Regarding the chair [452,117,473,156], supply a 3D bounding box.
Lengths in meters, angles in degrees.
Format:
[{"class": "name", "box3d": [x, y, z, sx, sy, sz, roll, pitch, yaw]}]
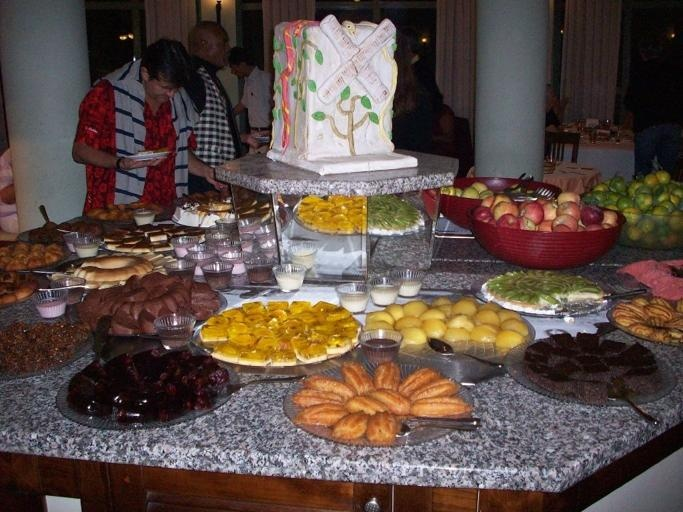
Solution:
[{"class": "chair", "box3d": [1.879, -1.833, 8.039, 0.305, 0.546, 1.183, 3, 19, 11]}]

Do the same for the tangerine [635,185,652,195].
[{"class": "tangerine", "box3d": [1.492, -0.331, 2.576, 0.059, 0.050, 0.072, -10, 11, -18]}]

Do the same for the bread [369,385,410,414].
[{"class": "bread", "box3d": [0.116, 0.346, 1.274, 0.085, 0.028, 0.046, 19, 19, 31]}]

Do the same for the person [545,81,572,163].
[{"class": "person", "box3d": [2.979, -1.691, 7.111, 0.287, 0.958, 0.265, -23, 18, -21]}]

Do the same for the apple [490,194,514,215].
[{"class": "apple", "box3d": [0.750, -0.234, 2.465, 0.130, 0.107, 0.116, -4, 5, -1]}]

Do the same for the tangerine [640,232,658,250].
[{"class": "tangerine", "box3d": [1.443, -0.069, 2.448, 0.086, 0.085, 0.078, -4, 14, 7]}]

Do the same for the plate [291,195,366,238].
[{"class": "plate", "box3d": [-0.031, -0.153, 2.015, 0.200, 0.041, 0.194, 18, 30, 28]}]

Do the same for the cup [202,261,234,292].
[{"class": "cup", "box3d": [-0.486, 0.077, 2.050, 0.126, 0.077, 0.111, 0, 31, -5]}]

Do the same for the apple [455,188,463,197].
[{"class": "apple", "box3d": [0.634, -0.345, 2.823, 0.055, 0.026, 0.056, 19, 30, 40]}]

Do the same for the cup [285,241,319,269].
[{"class": "cup", "box3d": [-0.155, -0.014, 2.115, 0.137, 0.079, 0.124, 3, 14, 11]}]

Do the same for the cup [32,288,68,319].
[{"class": "cup", "box3d": [-1.011, 0.169, 1.826, 0.114, 0.080, 0.106, 3, 23, -1]}]

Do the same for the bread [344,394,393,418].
[{"class": "bread", "box3d": [0.059, 0.361, 1.252, 0.072, 0.020, 0.045, 8, 23, 16]}]

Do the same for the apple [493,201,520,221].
[{"class": "apple", "box3d": [0.749, -0.206, 2.363, 0.119, 0.099, 0.107, -8, -12, 6]}]

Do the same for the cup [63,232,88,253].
[{"class": "cup", "box3d": [-1.284, -0.071, 2.511, 0.121, 0.069, 0.109, 1, 12, -3]}]

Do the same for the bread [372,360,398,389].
[{"class": "bread", "box3d": [0.122, 0.305, 1.348, 0.050, 0.028, 0.058, 0, 30, 3]}]

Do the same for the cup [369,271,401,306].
[{"class": "cup", "box3d": [0.162, 0.116, 1.892, 0.124, 0.074, 0.109, -3, 32, -1]}]

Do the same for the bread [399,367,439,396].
[{"class": "bread", "box3d": [0.201, 0.330, 1.358, 0.102, 0.033, 0.050, -19, 30, -26]}]

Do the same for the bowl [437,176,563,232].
[{"class": "bowl", "box3d": [0.814, -0.340, 2.834, 0.488, 0.131, 0.439, 0, 15, 3]}]

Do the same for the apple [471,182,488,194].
[{"class": "apple", "box3d": [0.767, -0.380, 2.887, 0.084, 0.067, 0.092, 3, -1, -5]}]

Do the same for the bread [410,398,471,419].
[{"class": "bread", "box3d": [0.240, 0.370, 1.260, 0.129, 0.035, 0.055, 0, 16, -3]}]

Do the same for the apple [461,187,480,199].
[{"class": "apple", "box3d": [0.684, -0.325, 2.763, 0.077, 0.061, 0.083, -2, 0, 24]}]

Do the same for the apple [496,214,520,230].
[{"class": "apple", "box3d": [0.728, -0.150, 2.266, 0.079, 0.066, 0.068, 6, -24, 15]}]

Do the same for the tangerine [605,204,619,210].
[{"class": "tangerine", "box3d": [1.302, -0.232, 2.513, 0.058, 0.031, 0.062, 2, 17, 9]}]

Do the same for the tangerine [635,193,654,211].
[{"class": "tangerine", "box3d": [1.457, -0.258, 2.513, 0.084, 0.051, 0.053, -10, 58, -21]}]

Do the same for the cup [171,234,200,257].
[{"class": "cup", "box3d": [-0.718, -0.054, 2.384, 0.120, 0.059, 0.107, -1, 14, -5]}]

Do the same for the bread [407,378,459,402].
[{"class": "bread", "box3d": [0.231, 0.332, 1.331, 0.123, 0.040, 0.044, -9, 25, -17]}]

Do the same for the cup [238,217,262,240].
[{"class": "cup", "box3d": [-0.391, -0.121, 2.226, 0.090, 0.038, 0.104, -4, 25, -6]}]

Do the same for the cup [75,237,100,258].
[{"class": "cup", "box3d": [-1.197, -0.054, 2.451, 0.121, 0.063, 0.108, 8, 29, 3]}]

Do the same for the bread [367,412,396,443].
[{"class": "bread", "box3d": [0.096, 0.400, 1.206, 0.076, 0.055, 0.059, 0, 19, 3]}]

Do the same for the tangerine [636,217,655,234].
[{"class": "tangerine", "box3d": [1.416, -0.146, 2.419, 0.079, 0.080, 0.072, -8, 25, 25]}]

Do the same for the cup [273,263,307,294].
[{"class": "cup", "box3d": [-0.203, 0.081, 2.090, 0.129, 0.072, 0.114, -1, 28, -8]}]

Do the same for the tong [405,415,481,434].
[{"class": "tong", "box3d": [0.235, 0.401, 1.232, 0.209, 0.044, 0.044, 0, 4, 1]}]

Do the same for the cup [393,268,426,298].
[{"class": "cup", "box3d": [0.256, 0.098, 1.967, 0.118, 0.062, 0.106, -2, 14, -4]}]

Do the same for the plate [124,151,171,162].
[{"class": "plate", "box3d": [-1.139, -0.589, 3.089, 0.236, 0.060, 0.085, -5, 19, -14]}]

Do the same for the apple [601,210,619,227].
[{"class": "apple", "box3d": [1.187, -0.165, 2.315, 0.071, 0.070, 0.065, -13, 13, 1]}]

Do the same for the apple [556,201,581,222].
[{"class": "apple", "box3d": [0.997, -0.206, 2.322, 0.105, 0.087, 0.094, -6, 30, 3]}]

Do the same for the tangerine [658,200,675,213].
[{"class": "tangerine", "box3d": [1.550, -0.233, 2.484, 0.045, 0.052, 0.045, 25, 70, 29]}]

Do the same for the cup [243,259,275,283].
[{"class": "cup", "box3d": [-0.344, 0.058, 2.129, 0.119, 0.070, 0.107, 2, 28, 0]}]

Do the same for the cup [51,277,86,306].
[{"class": "cup", "box3d": [-0.995, 0.122, 1.924, 0.115, 0.067, 0.113, 1, 28, -1]}]

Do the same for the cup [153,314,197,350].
[{"class": "cup", "box3d": [-0.506, 0.228, 1.585, 0.123, 0.064, 0.110, -7, 23, -20]}]

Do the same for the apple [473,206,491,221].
[{"class": "apple", "box3d": [0.654, -0.198, 2.399, 0.082, 0.075, 0.069, 1, 16, 21]}]

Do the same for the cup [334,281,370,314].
[{"class": "cup", "box3d": [0.027, 0.137, 1.828, 0.122, 0.072, 0.108, 2, 30, 2]}]

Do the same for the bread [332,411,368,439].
[{"class": "bread", "box3d": [0.021, 0.394, 1.206, 0.071, 0.021, 0.052, -31, 52, -18]}]

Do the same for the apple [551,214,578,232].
[{"class": "apple", "box3d": [0.953, -0.136, 2.260, 0.092, 0.079, 0.086, 17, -17, -18]}]

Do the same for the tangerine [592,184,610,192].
[{"class": "tangerine", "box3d": [1.369, -0.359, 2.745, 0.062, 0.048, 0.066, -10, -13, 7]}]

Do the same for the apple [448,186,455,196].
[{"class": "apple", "box3d": [0.597, -0.353, 2.826, 0.060, 0.047, 0.054, -3, 15, 6]}]

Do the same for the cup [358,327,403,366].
[{"class": "cup", "box3d": [0.116, 0.253, 1.487, 0.113, 0.056, 0.105, -1, 21, 0]}]

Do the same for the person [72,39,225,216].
[{"class": "person", "box3d": [-1.273, -0.828, 3.343, 0.852, 1.040, 0.667, -9, 21, -23]}]

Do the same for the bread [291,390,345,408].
[{"class": "bread", "box3d": [-0.065, 0.352, 1.296, 0.111, 0.023, 0.045, 1, 20, 6]}]

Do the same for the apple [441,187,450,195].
[{"class": "apple", "box3d": [0.558, -0.348, 2.776, 0.049, 0.038, 0.161, 4, 18, 13]}]

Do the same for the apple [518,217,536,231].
[{"class": "apple", "box3d": [0.814, -0.137, 2.283, 0.076, 0.061, 0.083, 10, -7, 22]}]

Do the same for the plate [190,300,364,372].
[{"class": "plate", "box3d": [-0.184, 0.236, 1.593, 0.269, 0.025, 0.250, 7, 18, 18]}]

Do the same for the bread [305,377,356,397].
[{"class": "bread", "box3d": [-0.032, 0.333, 1.328, 0.134, 0.034, 0.043, 11, 27, 7]}]

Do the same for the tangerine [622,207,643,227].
[{"class": "tangerine", "box3d": [1.357, -0.184, 2.442, 0.087, 0.071, 0.076, 2, 9, 19]}]

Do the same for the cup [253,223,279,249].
[{"class": "cup", "box3d": [-0.304, -0.092, 2.223, 0.115, 0.070, 0.106, 0, 36, 0]}]

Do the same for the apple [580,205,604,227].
[{"class": "apple", "box3d": [1.091, -0.171, 2.272, 0.068, 0.071, 0.066, -29, 39, -15]}]

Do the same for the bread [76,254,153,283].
[{"class": "bread", "box3d": [-0.954, 0.055, 2.178, 0.201, 0.036, 0.194, -12, 26, -40]}]

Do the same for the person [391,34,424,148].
[{"class": "person", "box3d": [0.507, -1.299, 4.172, 0.287, 0.902, 0.213, -9, 22, -22]}]

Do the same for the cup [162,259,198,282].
[{"class": "cup", "box3d": [-0.634, 0.049, 2.043, 0.116, 0.043, 0.105, -6, 27, -21]}]

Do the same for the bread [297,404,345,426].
[{"class": "bread", "box3d": [-0.052, 0.380, 1.241, 0.096, 0.023, 0.052, -1, 33, 1]}]
